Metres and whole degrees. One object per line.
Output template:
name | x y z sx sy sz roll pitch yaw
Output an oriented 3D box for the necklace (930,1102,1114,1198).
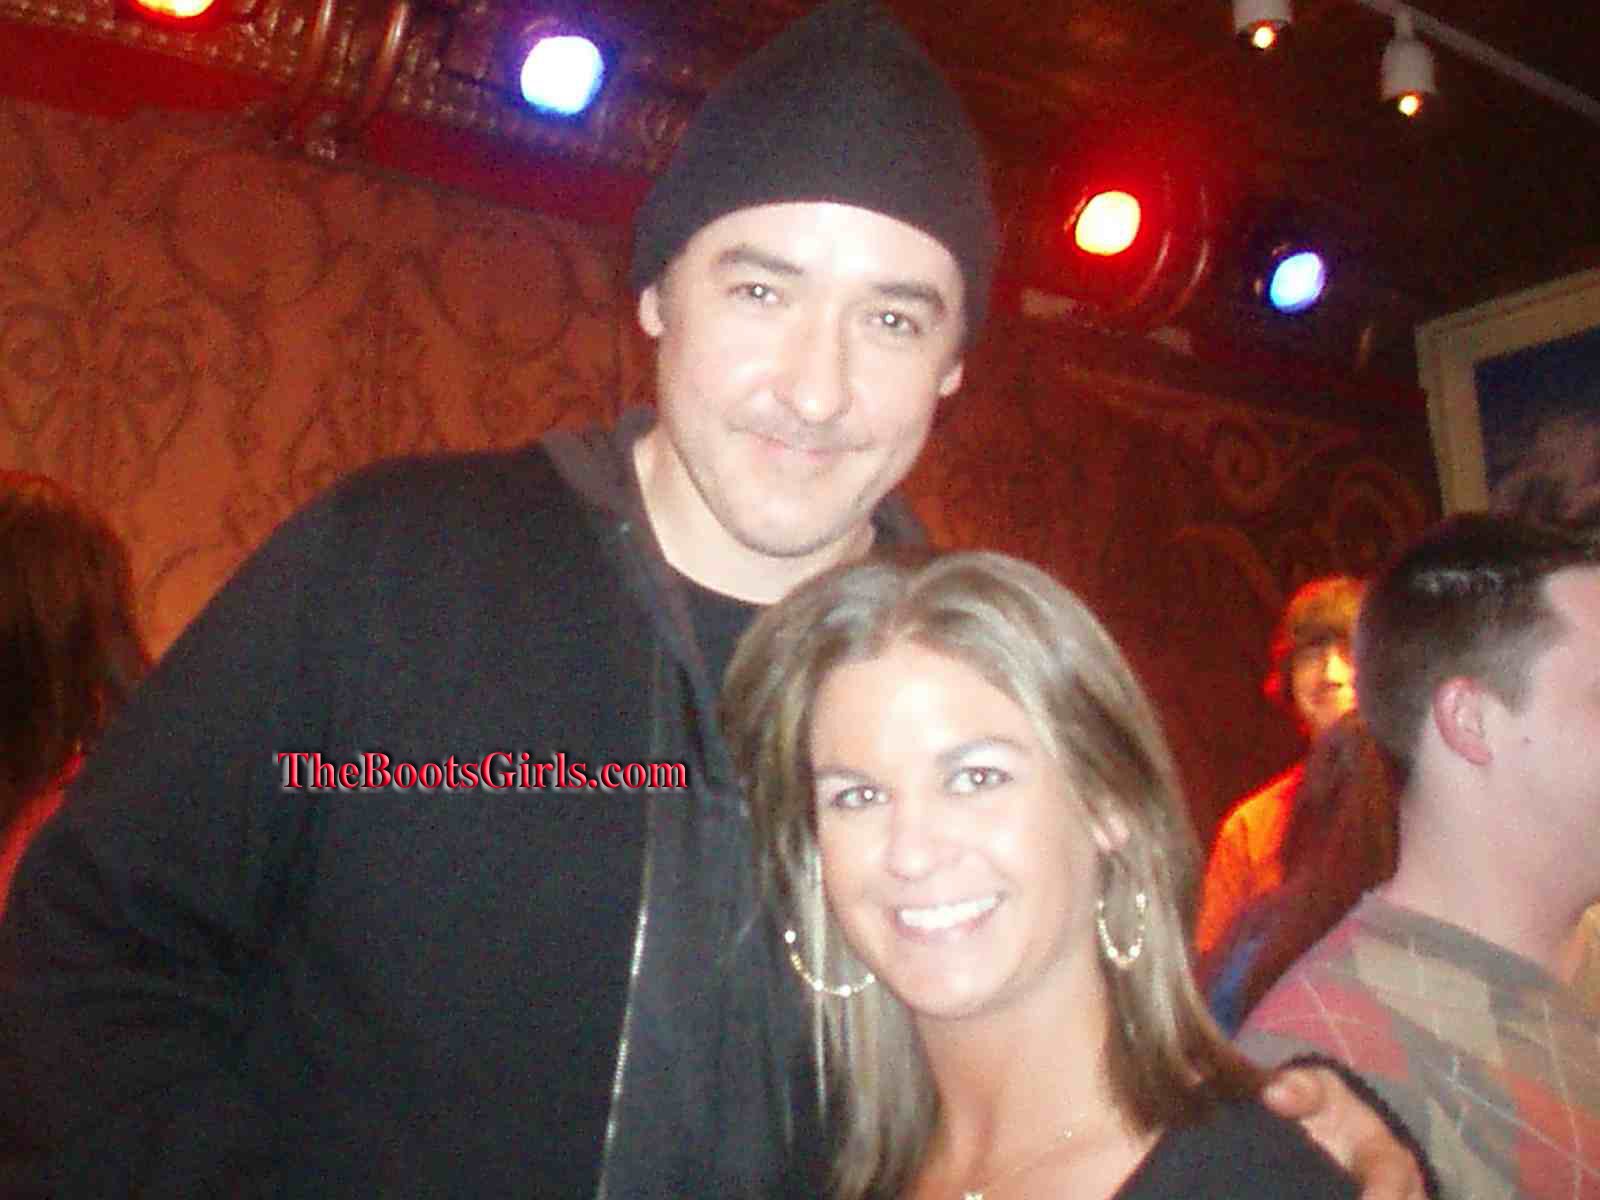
necklace | 0.422 1.008 2.705 0.349 0.040 0.045 -28 31 -19
